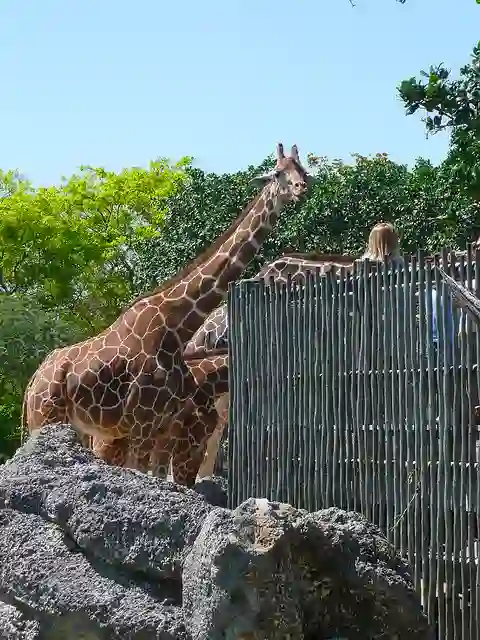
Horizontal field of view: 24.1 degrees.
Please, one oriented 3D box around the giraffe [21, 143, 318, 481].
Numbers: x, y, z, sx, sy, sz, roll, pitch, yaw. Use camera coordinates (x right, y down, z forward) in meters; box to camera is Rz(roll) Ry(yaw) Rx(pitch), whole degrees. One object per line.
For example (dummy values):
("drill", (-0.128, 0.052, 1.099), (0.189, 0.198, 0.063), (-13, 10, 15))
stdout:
("giraffe", (-0.744, -0.079, 10.274), (2.357, 2.973, 1.175), (2, -2, -11))
